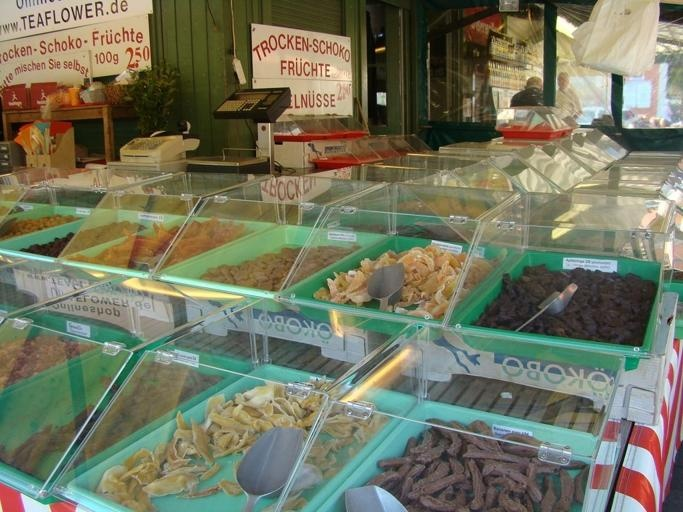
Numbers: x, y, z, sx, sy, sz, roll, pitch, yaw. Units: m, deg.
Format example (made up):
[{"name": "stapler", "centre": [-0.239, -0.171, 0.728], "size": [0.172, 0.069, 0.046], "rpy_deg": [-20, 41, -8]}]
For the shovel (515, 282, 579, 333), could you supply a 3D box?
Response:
[{"name": "shovel", "centre": [0.726, 0.148, 1.629], "size": [0.433, 0.055, 0.093], "rpy_deg": [-24, -7, -41]}]

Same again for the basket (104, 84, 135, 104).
[{"name": "basket", "centre": [-2.215, -1.643, 4.919], "size": [0.265, 0.168, 0.279], "rpy_deg": [11, 33, 19]}]

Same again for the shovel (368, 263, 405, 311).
[{"name": "shovel", "centre": [0.169, 0.113, 1.724], "size": [0.110, 0.065, 0.158], "rpy_deg": [-5, 51, 27]}]
